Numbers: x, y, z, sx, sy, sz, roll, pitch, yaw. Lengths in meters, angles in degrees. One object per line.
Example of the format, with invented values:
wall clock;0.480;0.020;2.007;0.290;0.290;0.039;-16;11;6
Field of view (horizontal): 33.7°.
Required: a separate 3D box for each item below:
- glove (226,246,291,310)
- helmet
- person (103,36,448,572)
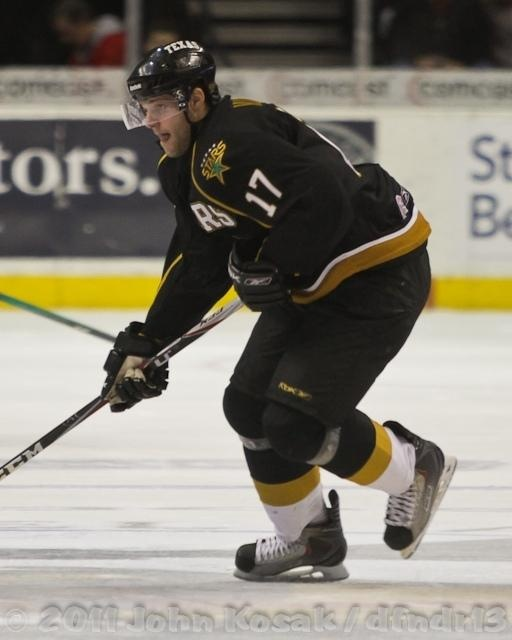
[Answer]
glove;0.029;-0.085;1.764;0.126;0.104;0.158;21;29;41
helmet;-0.179;-0.495;1.739;0.212;0.126;0.149;-24;26;-27
person;0.009;-0.024;1.819;0.691;1.109;0.403;2;10;18
